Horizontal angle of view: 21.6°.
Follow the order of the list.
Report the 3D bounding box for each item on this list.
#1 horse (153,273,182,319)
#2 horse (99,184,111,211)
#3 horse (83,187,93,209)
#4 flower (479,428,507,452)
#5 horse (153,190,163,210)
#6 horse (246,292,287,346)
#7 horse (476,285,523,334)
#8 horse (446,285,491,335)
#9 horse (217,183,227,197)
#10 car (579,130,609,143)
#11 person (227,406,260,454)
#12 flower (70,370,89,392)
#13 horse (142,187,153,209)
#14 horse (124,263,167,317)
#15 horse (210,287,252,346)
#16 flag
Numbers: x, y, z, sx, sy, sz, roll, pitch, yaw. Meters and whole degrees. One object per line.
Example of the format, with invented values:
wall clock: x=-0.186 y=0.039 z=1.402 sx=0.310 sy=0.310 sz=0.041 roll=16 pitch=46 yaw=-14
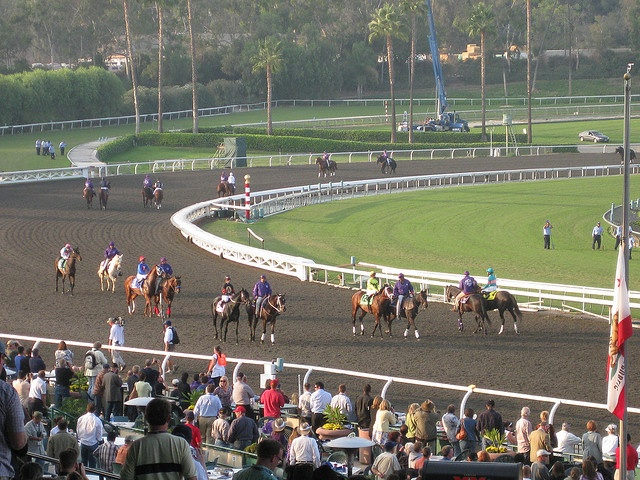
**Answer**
horse: x=-8.943 y=3.393 z=98.197 sx=1.020 sy=2.413 sz=3.804 roll=6 pitch=-5 yaw=-27
horse: x=-14.473 y=-2.778 z=113.652 sx=0.637 sy=1.759 sz=2.383 roll=-4 pitch=6 yaw=-7
horse: x=-15.469 y=-2.634 z=113.720 sx=0.693 sy=1.379 sz=2.007 roll=-4 pitch=6 yaw=-9
flower: x=9.231 y=10.527 z=88.571 sx=1.200 sy=1.140 sz=1.160 roll=-7 pitch=8 yaw=-29
horse: x=-10.894 y=-2.614 z=114.303 sx=0.546 sy=1.356 sz=1.358 roll=-3 pitch=5 yaw=-3
horse: x=-2.988 y=4.262 z=96.098 sx=1.978 sy=2.883 sz=1.743 roll=-5 pitch=11 yaw=-34
horse: x=10.503 y=4.154 z=96.670 sx=2.111 sy=2.471 sz=1.122 roll=-3 pitch=5 yaw=4
horse: x=8.548 y=3.983 z=97.169 sx=0.956 sy=2.528 sz=3.565 roll=-13 pitch=11 yaw=-36
horse: x=-6.714 y=-3.245 z=116.838 sx=0.661 sy=1.060 sz=1.952 roll=-3 pitch=6 yaw=-4
car: x=22.498 y=-8.086 z=138.615 sx=2.387 sy=0.921 sz=2.481 roll=-2 pitch=6 yaw=9
person: x=-4.074 y=10.595 z=89.090 sx=1.563 sy=3.735 sz=1.125 roll=-1 pitch=17 yaw=-8
flower: x=-13.021 y=7.642 z=91.345 sx=0.933 sy=1.139 sz=0.932 roll=5 pitch=6 yaw=34
horse: x=-11.609 y=-2.719 z=114.388 sx=0.691 sy=1.424 sz=1.097 roll=-3 pitch=5 yaw=-5
horse: x=-9.996 y=2.891 z=98.275 sx=1.761 sy=3.172 sz=1.944 roll=9 pitch=12 yaw=40
horse: x=-5.155 y=4.331 z=96.337 sx=0.989 sy=3.148 sz=4.682 roll=-2 pitch=4 yaw=-29
flag: x=15.570 y=4.974 z=87.951 sx=1.155 sy=8.655 sz=1.570 roll=0 pitch=6 yaw=28
